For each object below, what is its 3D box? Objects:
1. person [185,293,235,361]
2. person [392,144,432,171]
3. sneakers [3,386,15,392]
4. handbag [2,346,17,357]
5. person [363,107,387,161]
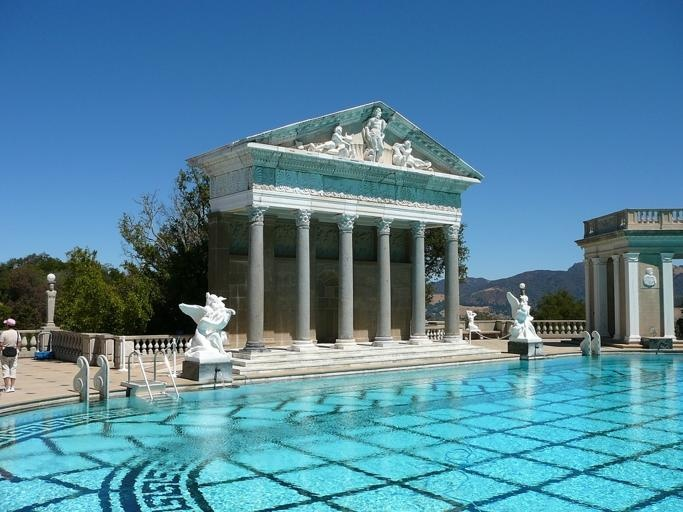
[{"bbox_3d":[-4.367,2.321,20.143,1.460,2.162,0.798,1,-7,-12],"label":"person"},{"bbox_3d":[3.365,-4.466,28.212,2.151,1.205,0.783,15,12,12],"label":"person"},{"bbox_3d":[-9.373,3.771,17.423,0.126,0.127,0.300,-10,-14,43],"label":"sneakers"},{"bbox_3d":[-9.389,2.714,17.443,0.369,0.306,0.215,3,-7,-31],"label":"handbag"},{"bbox_3d":[1.393,-5.352,27.045,1.005,2.439,0.517,-1,-6,2],"label":"person"}]
